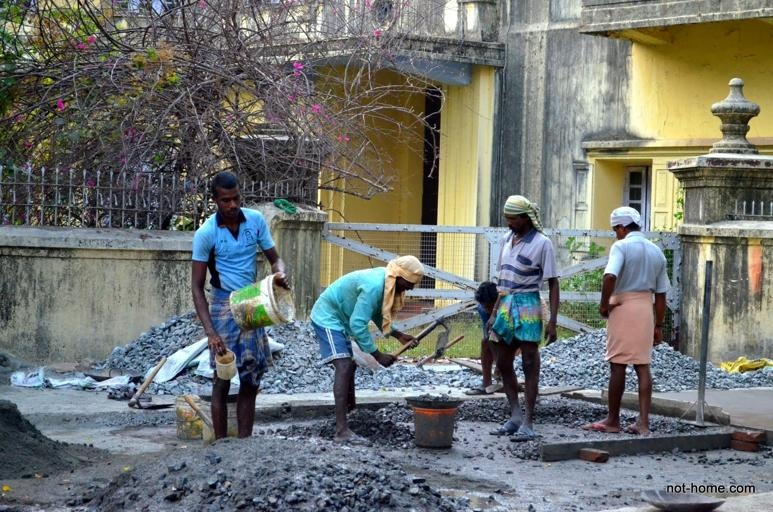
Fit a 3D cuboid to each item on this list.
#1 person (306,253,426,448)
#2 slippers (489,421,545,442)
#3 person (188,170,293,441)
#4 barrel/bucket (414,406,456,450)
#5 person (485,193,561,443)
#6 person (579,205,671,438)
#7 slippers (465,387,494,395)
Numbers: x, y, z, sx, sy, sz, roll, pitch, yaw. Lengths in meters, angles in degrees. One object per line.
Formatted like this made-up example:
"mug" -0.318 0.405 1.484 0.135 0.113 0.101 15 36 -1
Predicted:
"person" -0.299 1.089 13.191 1.296 2.187 0.892 -1 1 -6
"slippers" 1.629 2.170 13.260 0.676 0.329 0.237 5 2 20
"person" -1.771 0.564 12.362 1.023 3.082 0.533 -1 1 -13
"barrel/bucket" 0.582 2.035 12.923 0.473 0.390 0.500 0 -3 0
"person" 1.708 0.738 13.351 0.742 3.007 0.724 -2 2 -36
"person" 3.090 0.786 13.477 0.997 2.812 0.600 -1 1 0
"slippers" 1.306 1.883 14.966 0.413 0.179 0.152 2 -4 -5
